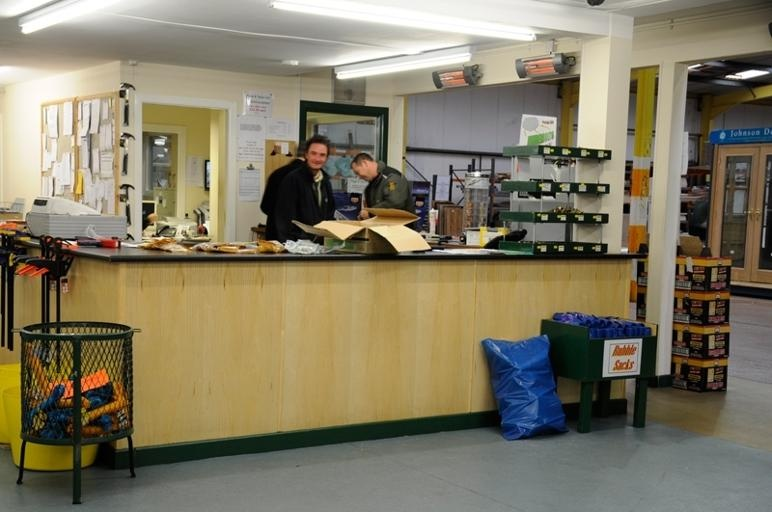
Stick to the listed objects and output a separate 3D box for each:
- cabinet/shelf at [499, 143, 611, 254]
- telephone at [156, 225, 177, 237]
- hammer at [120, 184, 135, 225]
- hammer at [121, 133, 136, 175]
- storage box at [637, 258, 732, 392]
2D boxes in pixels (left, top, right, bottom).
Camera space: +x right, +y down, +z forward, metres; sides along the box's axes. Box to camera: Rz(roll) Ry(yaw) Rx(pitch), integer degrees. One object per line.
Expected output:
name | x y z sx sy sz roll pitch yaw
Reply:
cabinet/shelf | 1.608 -0.520 6.160 1.159 1.003 0.508 -2 7 -32
telephone | -3.298 -0.369 9.970 0.343 0.163 0.438 1 -3 7
hammer | -3.267 -0.657 8.390 0.133 0.526 0.084 4 8 8
hammer | -3.239 -1.276 8.339 0.159 0.528 0.071 0 8 -19
storage box | 3.415 0.726 7.220 0.607 1.429 0.489 5 8 15
